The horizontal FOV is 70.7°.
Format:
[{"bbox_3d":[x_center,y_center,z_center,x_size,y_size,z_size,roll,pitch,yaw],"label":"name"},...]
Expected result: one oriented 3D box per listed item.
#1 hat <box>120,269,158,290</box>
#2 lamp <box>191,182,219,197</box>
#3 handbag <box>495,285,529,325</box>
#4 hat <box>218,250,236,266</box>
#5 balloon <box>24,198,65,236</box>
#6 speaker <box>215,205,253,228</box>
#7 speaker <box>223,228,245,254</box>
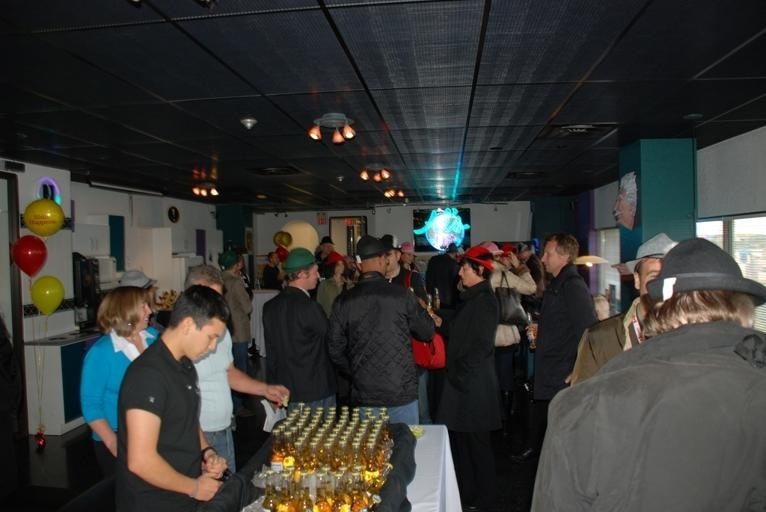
[{"bbox_3d":[-2.025,0.197,4.363,0.417,0.149,0.321,-1,1,26],"label":"hat"},{"bbox_3d":[-3.231,-1.252,9.869,0.327,0.108,0.340,0,-20,-9],"label":"lamp"},{"bbox_3d":[1.249,0.482,5.272,0.136,0.287,0.284,-20,-22,37],"label":"handbag"},{"bbox_3d":[-1.967,0.020,6.834,0.143,0.162,0.205,5,32,19],"label":"hat"},{"bbox_3d":[-3.988,-0.421,6.285,0.406,0.535,0.427,0,0,-3],"label":"balloon"},{"bbox_3d":[-3.825,-0.883,13.569,0.885,0.661,0.496,1,-11,-15],"label":"speaker"},{"bbox_3d":[-3.448,-0.364,12.359,0.298,0.611,0.565,2,4,11],"label":"speaker"}]
